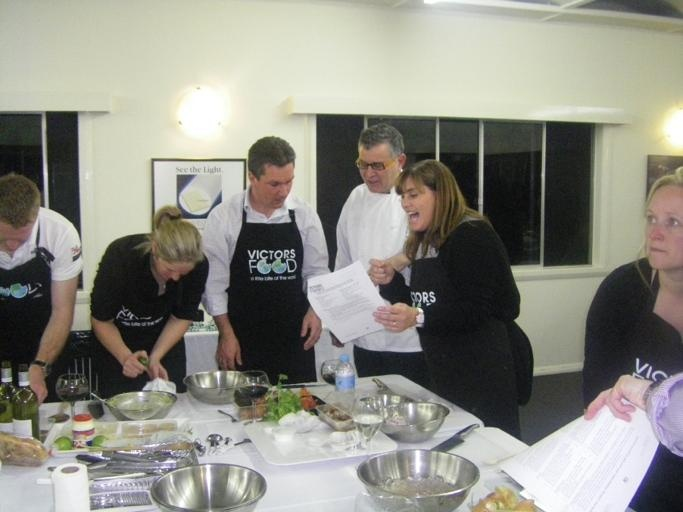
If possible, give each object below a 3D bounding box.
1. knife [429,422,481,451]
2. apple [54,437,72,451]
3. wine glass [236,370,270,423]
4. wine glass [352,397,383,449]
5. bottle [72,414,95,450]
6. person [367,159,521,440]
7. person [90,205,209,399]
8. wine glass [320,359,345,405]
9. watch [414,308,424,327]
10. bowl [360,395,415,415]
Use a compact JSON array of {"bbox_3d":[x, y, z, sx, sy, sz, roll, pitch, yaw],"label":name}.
[{"bbox_3d":[0.434,0.695,2.235,0.068,0.018,0.343,19,14,33],"label":"knife"},{"bbox_3d":[-1.031,0.700,2.161,0.047,0.048,0.048,21,-30,-35],"label":"apple"},{"bbox_3d":[-0.377,0.605,2.518,0.165,0.190,0.154,0,0,-31],"label":"wine glass"},{"bbox_3d":[0.102,0.634,2.229,0.127,0.131,0.117,-7,13,-32],"label":"wine glass"},{"bbox_3d":[-1.005,0.688,2.263,0.089,0.129,0.091,-10,-24,-4],"label":"bottle"},{"bbox_3d":[0.531,0.389,2.952,0.686,1.703,0.663,-14,13,-10],"label":"person"},{"bbox_3d":[-0.984,0.264,3.037,0.604,1.035,0.550,-6,7,-25],"label":"person"},{"bbox_3d":[-0.042,0.581,2.774,0.107,0.152,0.094,-3,-2,-45],"label":"wine glass"},{"bbox_3d":[0.360,0.280,2.658,0.052,0.081,0.075,-1,1,-10],"label":"watch"},{"bbox_3d":[0.181,0.617,2.437,0.148,0.045,0.086,1,-5,1],"label":"bowl"}]
